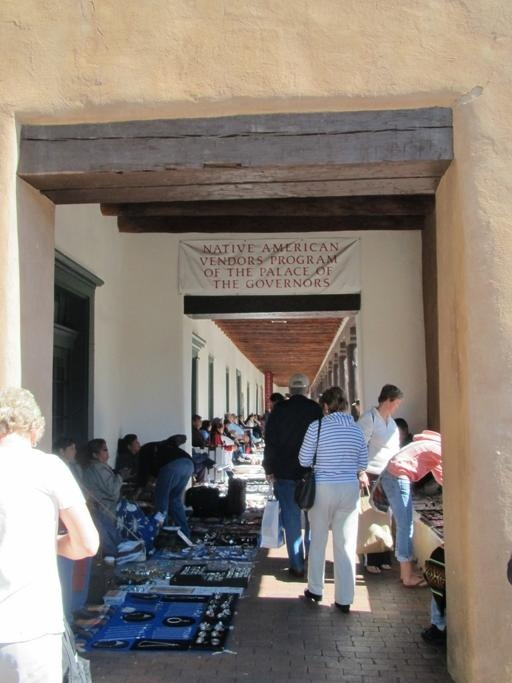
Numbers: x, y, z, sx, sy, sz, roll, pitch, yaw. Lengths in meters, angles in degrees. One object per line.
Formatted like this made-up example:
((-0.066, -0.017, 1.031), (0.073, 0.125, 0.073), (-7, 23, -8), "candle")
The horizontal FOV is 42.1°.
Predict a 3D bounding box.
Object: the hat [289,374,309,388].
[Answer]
((0.352, 0.314, 5.273), (0.129, 0.102, 0.218), (2, 4, 12), "hat")

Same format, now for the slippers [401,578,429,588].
((1.117, 1.673, 4.651), (0.137, 0.055, 0.082), (-3, 1, 9), "slippers")
